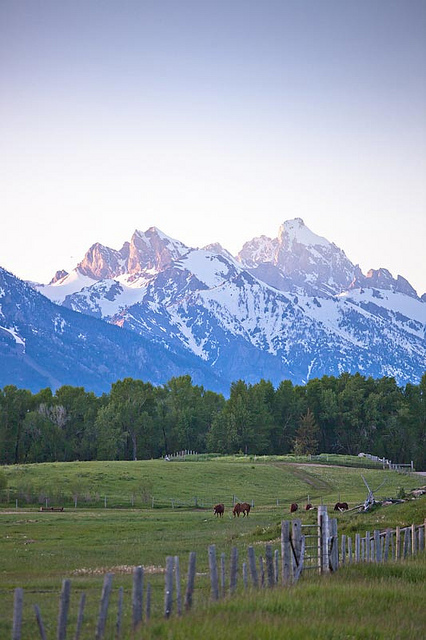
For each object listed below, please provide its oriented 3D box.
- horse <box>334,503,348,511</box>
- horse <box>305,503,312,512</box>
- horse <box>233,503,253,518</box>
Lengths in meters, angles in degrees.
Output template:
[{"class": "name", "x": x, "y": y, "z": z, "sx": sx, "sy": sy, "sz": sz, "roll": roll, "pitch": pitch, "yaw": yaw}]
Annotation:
[{"class": "horse", "x": 10.014, "y": 14.333, "z": 100.728, "sx": 0.858, "sy": 0.485, "sz": 1.638, "roll": -1, "pitch": -4, "yaw": 40}, {"class": "horse", "x": 7.631, "y": 14.606, "z": 103.189, "sx": 0.411, "sy": 0.828, "sz": 0.295, "roll": 1, "pitch": -21, "yaw": 18}, {"class": "horse", "x": 2.426, "y": 15.730, "z": 108.421, "sx": 1.379, "sy": 1.054, "sz": 3.732, "roll": 1, "pitch": -3, "yaw": 1}]
